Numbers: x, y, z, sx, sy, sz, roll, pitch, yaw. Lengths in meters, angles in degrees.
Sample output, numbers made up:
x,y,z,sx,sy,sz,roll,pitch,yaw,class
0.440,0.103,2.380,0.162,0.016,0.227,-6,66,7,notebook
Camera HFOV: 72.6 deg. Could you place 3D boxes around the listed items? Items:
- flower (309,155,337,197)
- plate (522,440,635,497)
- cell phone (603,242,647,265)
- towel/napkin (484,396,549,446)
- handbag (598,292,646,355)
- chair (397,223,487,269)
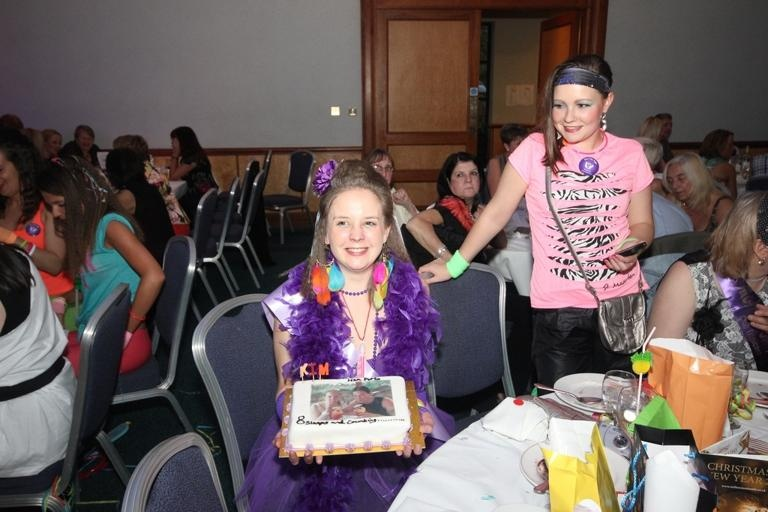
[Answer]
x,y,z,sx,sy,sz,roll,pitch,yaw,class
-0.231,-0.302,2.013,0.107,0.133,0.043,-12,-15,34,flower
0.569,0.636,1.567,0.316,0.069,0.167,1,13,8,plate
0.978,-0.012,2.146,0.089,0.029,0.159,17,-35,-40,cell phone
0.434,0.529,1.707,0.127,0.048,0.128,13,33,32,towel/napkin
1.008,0.293,2.230,0.208,0.267,0.066,-8,1,-24,handbag
0.315,-0.071,3.184,0.507,0.302,0.375,11,-5,-27,chair
